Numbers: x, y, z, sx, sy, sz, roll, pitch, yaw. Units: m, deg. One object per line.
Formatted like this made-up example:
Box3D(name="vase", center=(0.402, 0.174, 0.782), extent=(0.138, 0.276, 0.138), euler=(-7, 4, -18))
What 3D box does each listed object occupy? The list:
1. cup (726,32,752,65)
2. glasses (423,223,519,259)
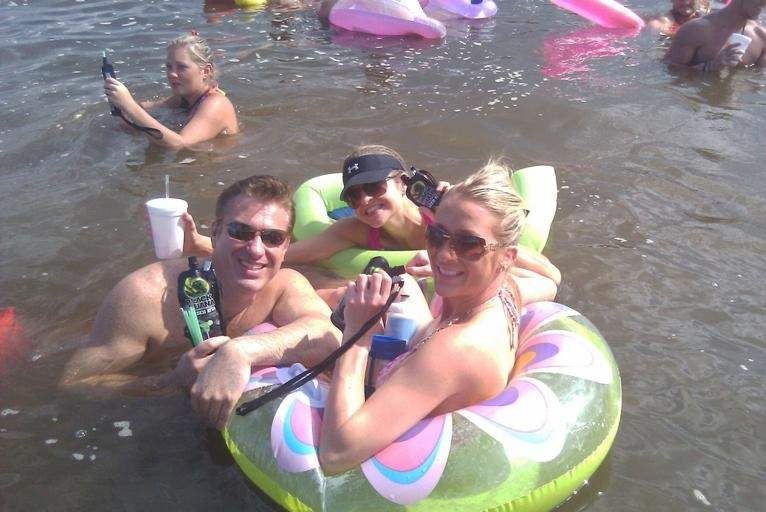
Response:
Box3D(name="cup", center=(5.671, -3.410, 10.704), extent=(0.276, 0.319, 0.317), euler=(14, 51, 11))
Box3D(name="glasses", center=(0.558, -0.082, 4.755), extent=(0.546, 0.179, 0.179), euler=(14, 51, 12))
